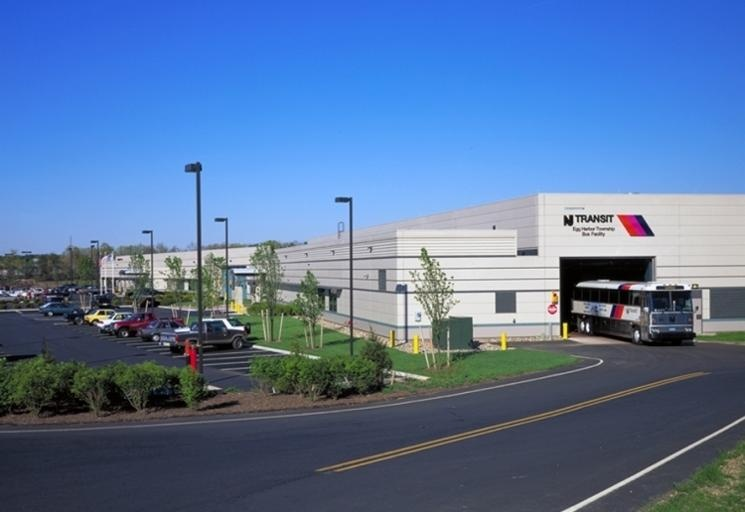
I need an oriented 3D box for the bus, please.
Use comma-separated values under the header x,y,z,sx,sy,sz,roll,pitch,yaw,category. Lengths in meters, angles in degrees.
x,y,z,sx,sy,sz,roll,pitch,yaw,category
18.257,3.785,48.716,3.708,4.798,11.320,0,5,-9,bus
